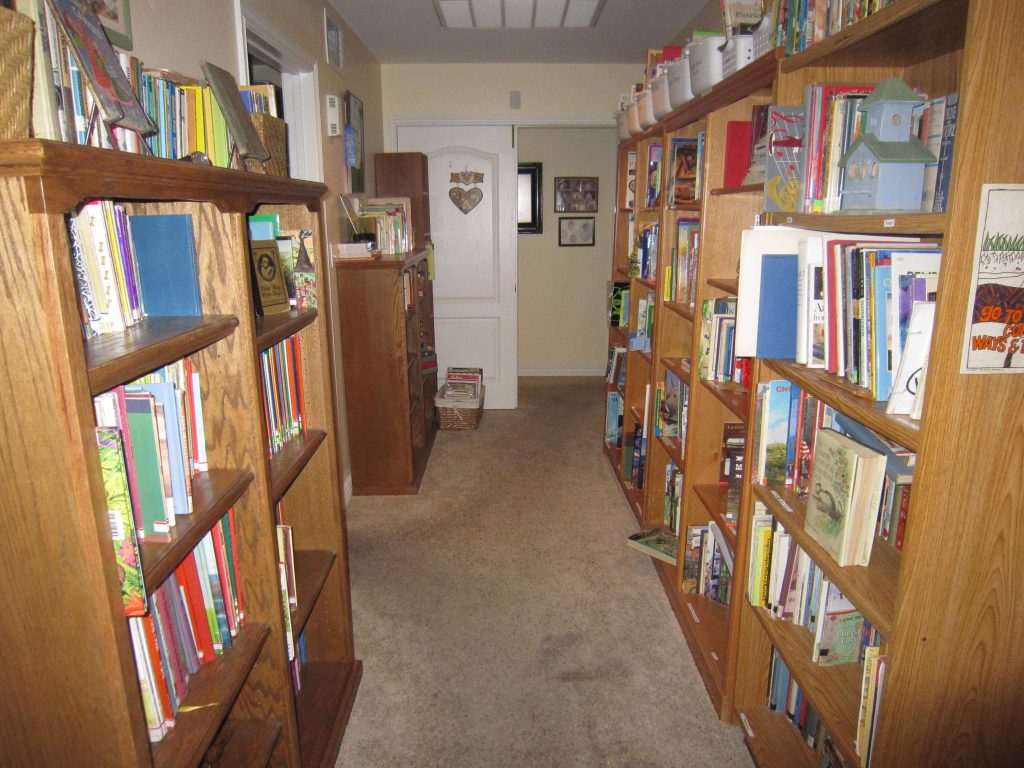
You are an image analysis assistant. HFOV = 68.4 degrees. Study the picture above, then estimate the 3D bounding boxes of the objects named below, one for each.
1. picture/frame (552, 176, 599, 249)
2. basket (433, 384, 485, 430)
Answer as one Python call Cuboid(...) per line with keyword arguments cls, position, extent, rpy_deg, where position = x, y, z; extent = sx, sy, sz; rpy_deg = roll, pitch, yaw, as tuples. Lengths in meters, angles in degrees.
Cuboid(cls="picture/frame", position=(0.571, -1.573, 6.776), extent=(0.518, 0.866, 0.031), rpy_deg=(-1, 12, -2))
Cuboid(cls="basket", position=(-0.369, 0.162, 5.515), extent=(0.223, 0.178, 0.368), rpy_deg=(0, 11, 3))
